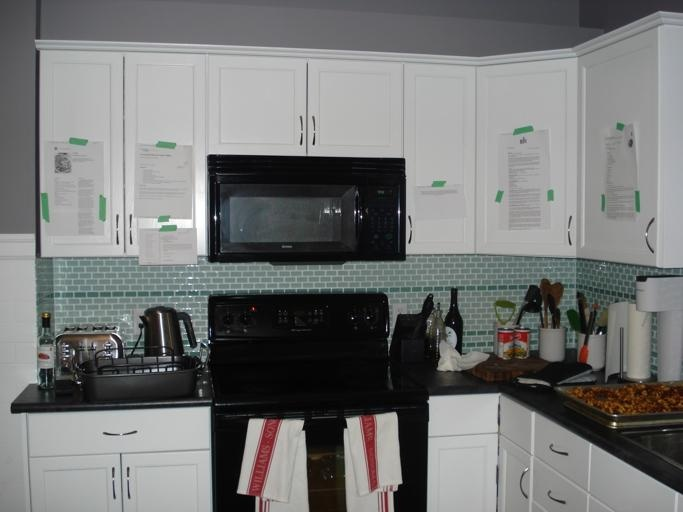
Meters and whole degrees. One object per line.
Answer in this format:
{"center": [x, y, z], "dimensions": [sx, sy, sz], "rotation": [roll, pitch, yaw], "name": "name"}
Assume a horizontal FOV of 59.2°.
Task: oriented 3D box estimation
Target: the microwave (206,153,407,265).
{"center": [-0.168, -0.235, 2.968], "dimensions": [0.838, 0.556, 0.598], "rotation": [0, 8, -14], "name": "microwave"}

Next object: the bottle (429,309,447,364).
{"center": [0.515, 0.422, 3.298], "dimensions": [0.100, 0.308, 0.311], "rotation": [-2, 3, 11], "name": "bottle"}

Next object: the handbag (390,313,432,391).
{"center": [0.367, 0.517, 3.175], "dimensions": [0.228, 0.457, 0.221], "rotation": [4, -11, -17], "name": "handbag"}

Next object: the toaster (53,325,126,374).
{"center": [-1.312, 0.443, 3.138], "dimensions": [0.335, 0.334, 0.204], "rotation": [3, 32, -24], "name": "toaster"}

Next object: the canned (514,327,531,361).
{"center": [0.983, 0.469, 3.306], "dimensions": [0.080, 0.161, 0.188], "rotation": [-1, 3, 20], "name": "canned"}

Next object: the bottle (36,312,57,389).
{"center": [-1.404, 0.449, 2.881], "dimensions": [0.083, 0.355, 0.139], "rotation": [-3, 3, -27], "name": "bottle"}

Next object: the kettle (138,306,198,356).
{"center": [-0.858, 0.377, 3.023], "dimensions": [0.232, 0.272, 0.209], "rotation": [4, 9, 0], "name": "kettle"}

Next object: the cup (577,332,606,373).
{"center": [1.299, 0.500, 3.131], "dimensions": [0.159, 0.190, 0.162], "rotation": [1, 0, 0], "name": "cup"}

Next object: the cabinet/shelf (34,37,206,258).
{"center": [-1.064, -0.488, 3.076], "dimensions": [0.785, 1.067, 0.393], "rotation": [0, 1, -11], "name": "cabinet/shelf"}

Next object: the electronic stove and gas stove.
{"center": [-0.226, 0.500, 3.022], "dimensions": [0.887, 0.202, 0.812], "rotation": [0, 8, -10], "name": "electronic stove and gas stove"}

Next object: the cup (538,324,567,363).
{"center": [1.128, 0.475, 3.260], "dimensions": [0.156, 0.175, 0.163], "rotation": [1, 0, 0], "name": "cup"}

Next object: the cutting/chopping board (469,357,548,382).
{"center": [0.837, 0.568, 3.030], "dimensions": [0.340, 0.062, 0.429], "rotation": [0, 5, -12], "name": "cutting/chopping board"}

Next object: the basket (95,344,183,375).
{"center": [-0.965, 0.523, 2.880], "dimensions": [0.423, 0.090, 0.294], "rotation": [-4, 4, -19], "name": "basket"}

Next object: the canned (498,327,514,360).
{"center": [0.881, 0.471, 3.254], "dimensions": [0.086, 0.155, 0.069], "rotation": [-1, 3, 14], "name": "canned"}

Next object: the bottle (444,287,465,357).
{"center": [0.615, 0.359, 3.345], "dimensions": [0.095, 0.350, 0.128], "rotation": [-2, 3, 9], "name": "bottle"}

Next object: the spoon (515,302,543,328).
{"center": [1.058, 0.328, 3.419], "dimensions": [0.148, 0.143, 0.267], "rotation": [-1, 3, 18], "name": "spoon"}
